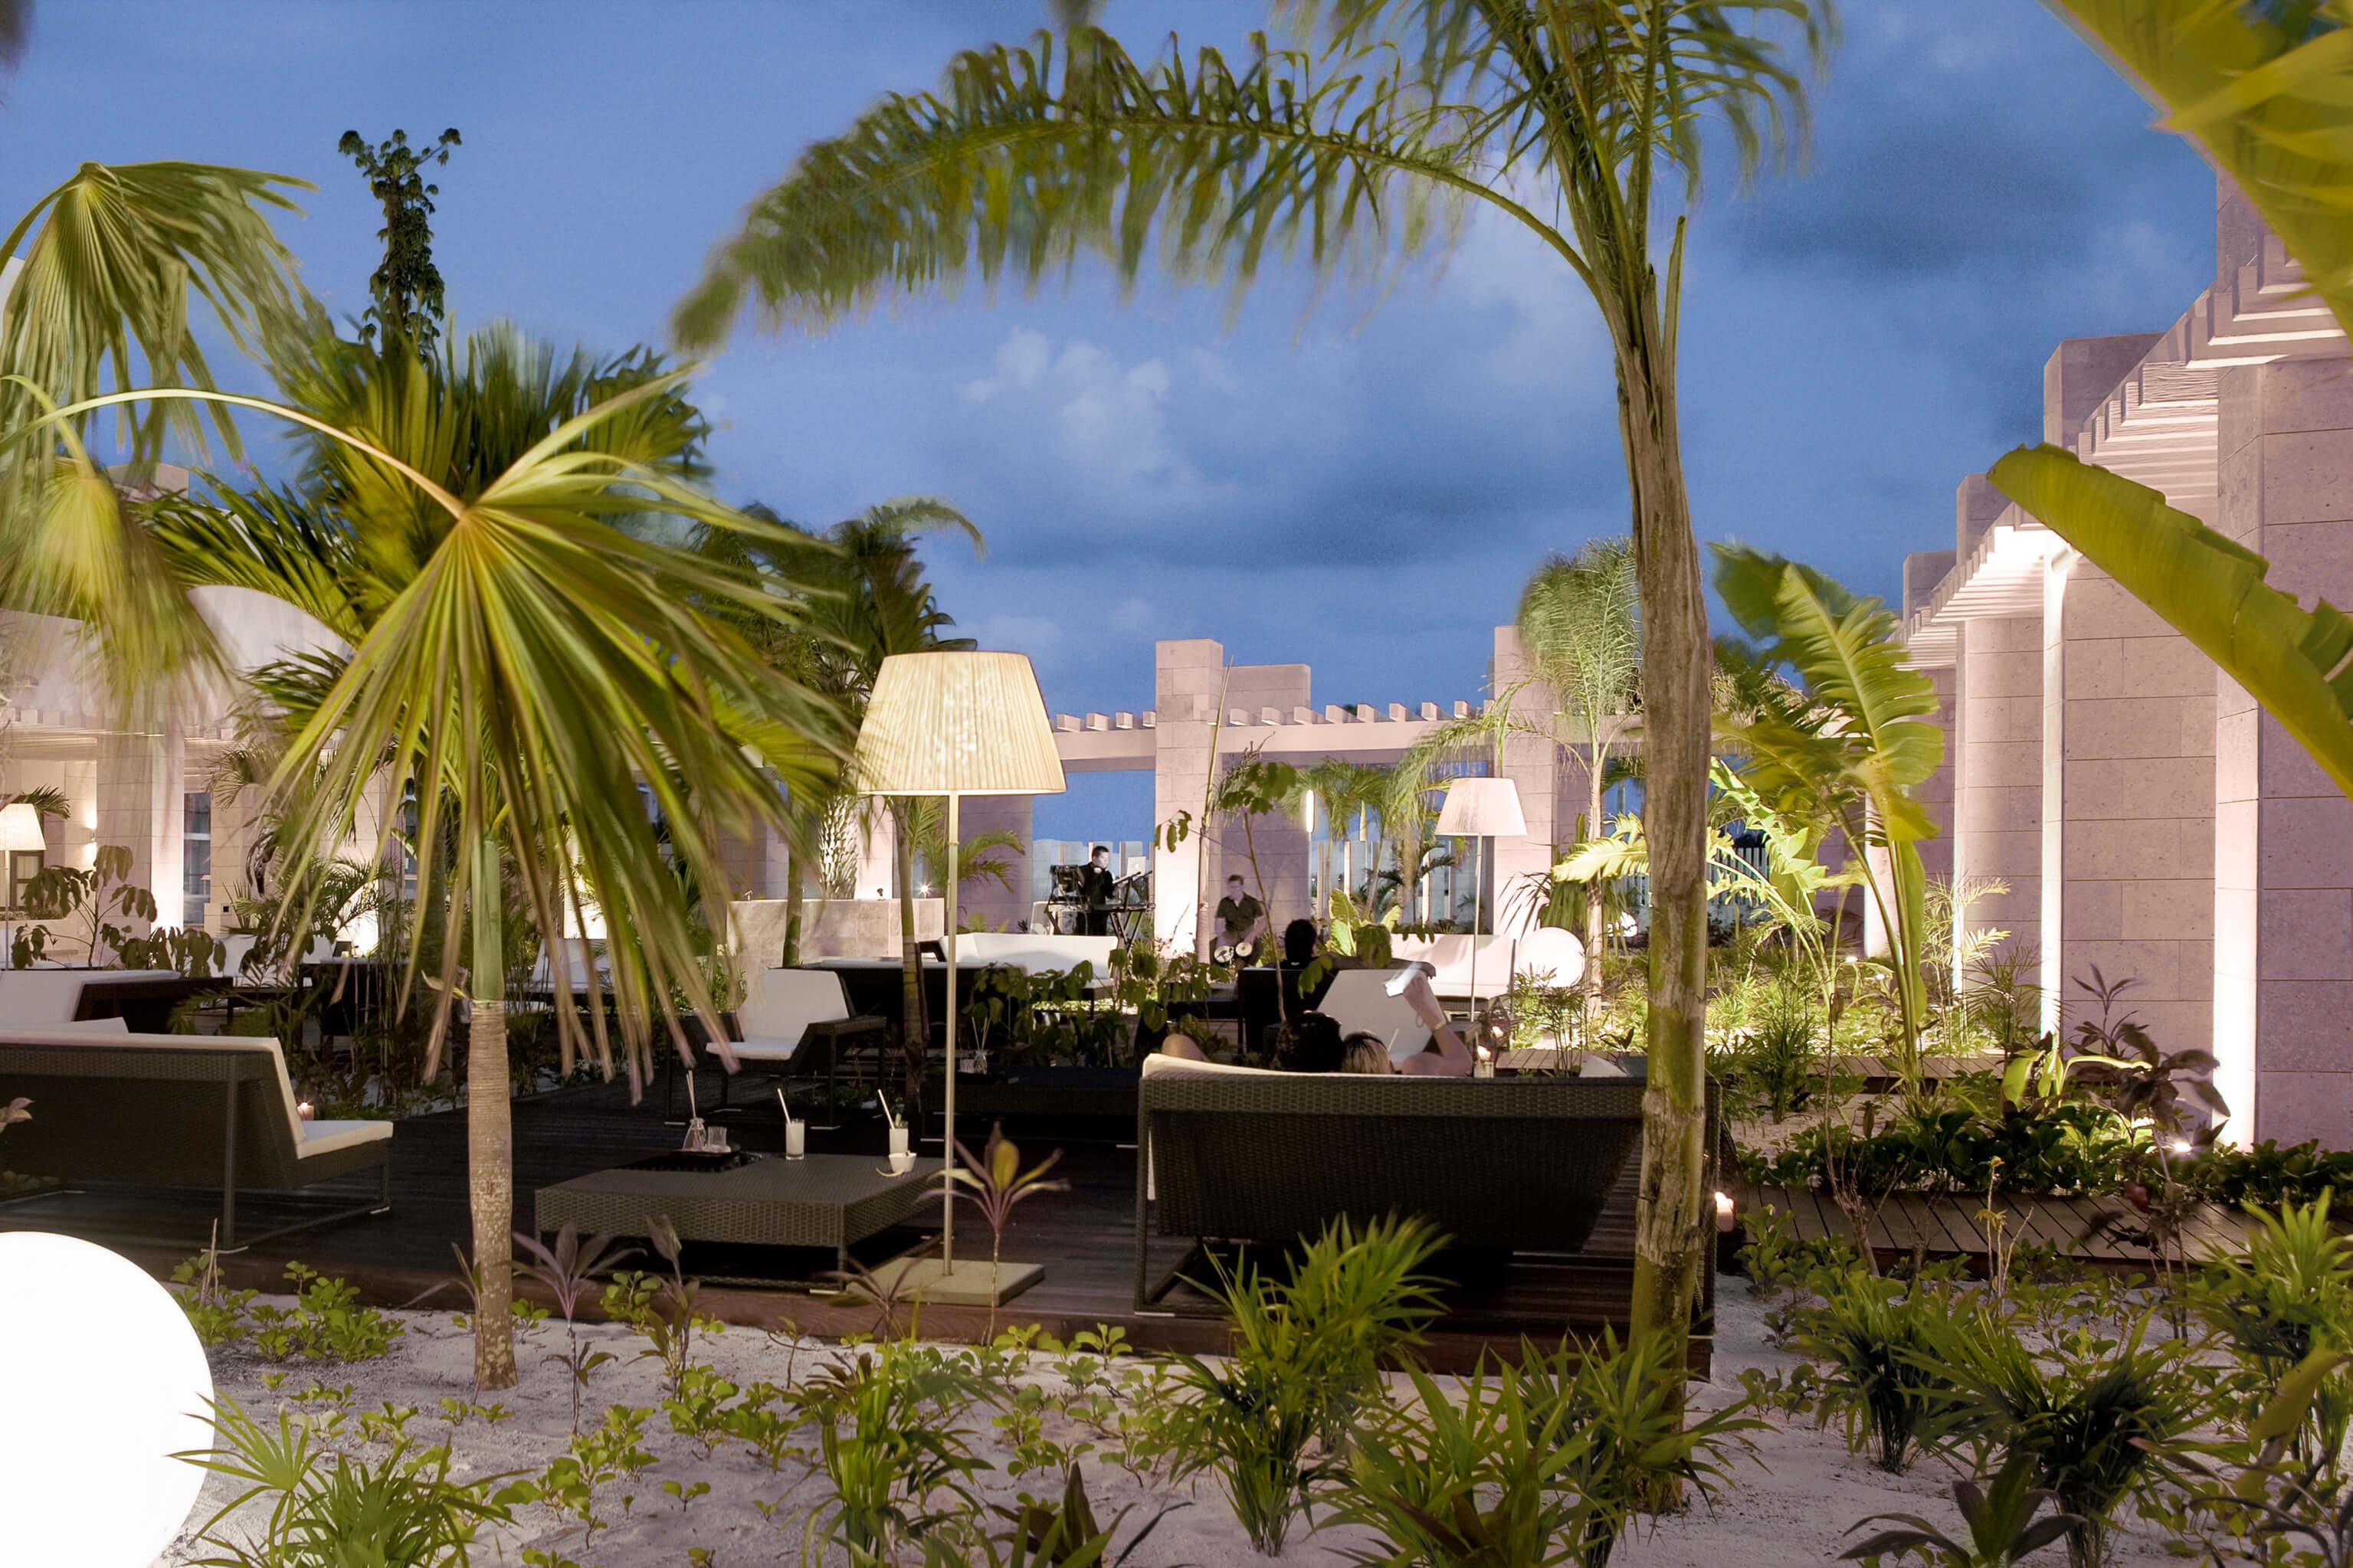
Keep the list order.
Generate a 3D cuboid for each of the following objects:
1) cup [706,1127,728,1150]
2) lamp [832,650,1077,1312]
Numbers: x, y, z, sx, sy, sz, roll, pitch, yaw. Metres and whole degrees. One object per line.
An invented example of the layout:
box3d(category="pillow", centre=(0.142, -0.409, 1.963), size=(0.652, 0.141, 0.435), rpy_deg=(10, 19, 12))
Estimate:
box3d(category="cup", centre=(-1.929, 1.494, 7.494), size=(0.068, 0.104, 0.082), rpy_deg=(3, -8, -19))
box3d(category="lamp", centre=(-0.917, 0.722, 7.369), size=(0.791, 2.480, 3.464), rpy_deg=(1, -6, -8))
